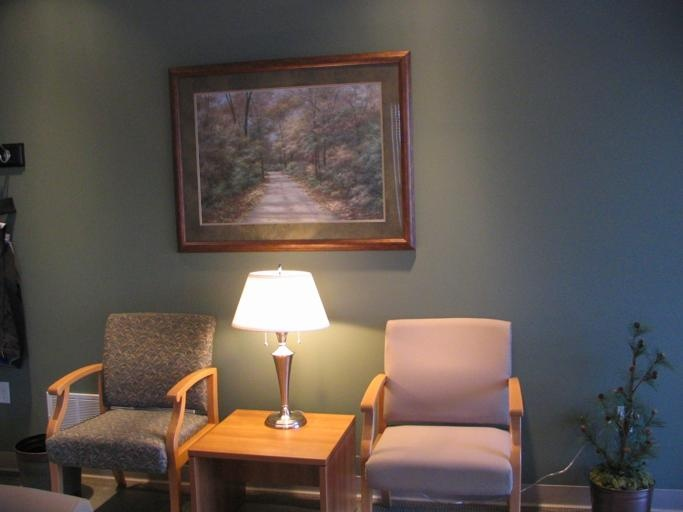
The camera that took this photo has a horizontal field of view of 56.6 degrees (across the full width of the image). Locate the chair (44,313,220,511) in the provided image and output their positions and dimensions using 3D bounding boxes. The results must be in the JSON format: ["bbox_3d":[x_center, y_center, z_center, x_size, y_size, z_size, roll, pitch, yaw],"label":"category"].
[{"bbox_3d":[-1.235,0.933,3.841,0.911,1.135,0.678,2,1,5],"label":"chair"}]

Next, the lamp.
[{"bbox_3d":[-0.357,0.526,3.771,0.540,0.923,0.433,1,2,-3],"label":"lamp"}]

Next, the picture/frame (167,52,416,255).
[{"bbox_3d":[-0.246,-0.674,3.949,1.178,1.006,0.052,0,3,10],"label":"picture/frame"}]

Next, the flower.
[{"bbox_3d":[1.663,0.843,3.652,0.524,0.919,0.305,2,2,6],"label":"flower"}]
